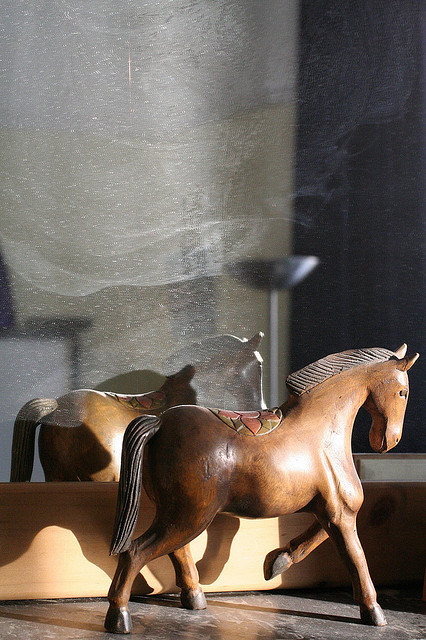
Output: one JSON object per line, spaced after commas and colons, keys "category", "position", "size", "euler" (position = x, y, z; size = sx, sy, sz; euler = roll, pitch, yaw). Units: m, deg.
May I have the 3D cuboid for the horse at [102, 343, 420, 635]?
{"category": "horse", "position": [0.044, 0.209, 1.014], "size": [0.370, 0.269, 0.119], "euler": [3, -16, -17]}
